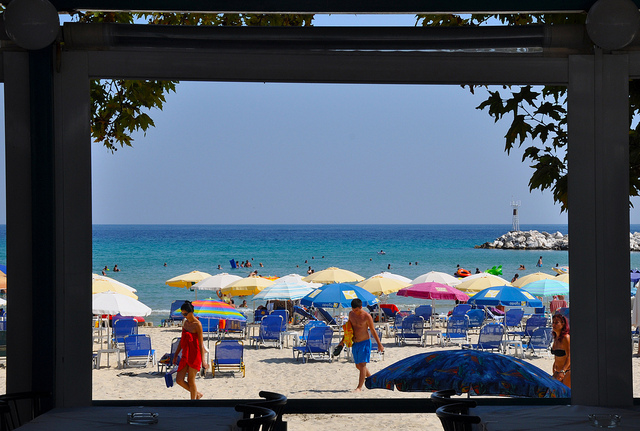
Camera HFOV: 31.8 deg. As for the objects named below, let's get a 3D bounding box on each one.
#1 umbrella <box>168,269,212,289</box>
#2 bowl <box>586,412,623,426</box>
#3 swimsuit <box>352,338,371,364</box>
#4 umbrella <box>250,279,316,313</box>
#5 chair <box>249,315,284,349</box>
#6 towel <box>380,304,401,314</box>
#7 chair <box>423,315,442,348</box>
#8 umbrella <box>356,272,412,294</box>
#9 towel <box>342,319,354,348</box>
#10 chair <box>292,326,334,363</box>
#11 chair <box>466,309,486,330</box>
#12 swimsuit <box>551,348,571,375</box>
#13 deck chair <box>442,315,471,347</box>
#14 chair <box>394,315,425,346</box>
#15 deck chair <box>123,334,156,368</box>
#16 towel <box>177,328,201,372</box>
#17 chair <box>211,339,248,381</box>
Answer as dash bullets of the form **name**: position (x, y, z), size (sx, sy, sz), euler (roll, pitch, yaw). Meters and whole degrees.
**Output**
- **umbrella**: position (-3.059, 1.538, 26.794), size (1.108, 0.438, 1.135), euler (-2, -3, 4)
- **bowl**: position (2.743, 1.948, 10.722), size (0.335, 0.112, 0.292), euler (1, -5, 0)
- **swimsuit**: position (0.596, 1.916, 15.812), size (0.247, 0.345, 0.224), euler (1, -5, -2)
- **umbrella**: position (-0.752, 1.709, 22.599), size (1.024, 0.769, 1.110), euler (1, 3, 1)
- **chair**: position (-0.865, 2.086, 20.431), size (0.462, 0.586, 0.876), euler (-2, -11, 1)
- **towel**: position (1.626, 2.178, 25.998), size (0.509, 0.255, 0.534), euler (1, -6, 3)
- **chair**: position (2.148, 2.238, 21.335), size (0.307, 0.324, 0.331), euler (-12, 20, 11)
- **umbrella**: position (1.541, 1.587, 26.228), size (1.631, 0.583, 1.712), euler (-4, -3, 6)
- **towel**: position (0.426, 1.685, 15.981), size (0.133, 0.377, 0.394), euler (1, -5, 1)
- **chair**: position (-0.052, 2.090, 18.778), size (0.489, 0.587, 0.892), euler (-1, -13, 16)
- **chair**: position (3.039, 2.020, 21.677), size (0.357, 0.525, 0.367), euler (0, -6, 8)
- **swimsuit**: position (2.859, 1.697, 13.388), size (0.135, 0.231, 0.189), euler (-5, -11, 21)
- **deck chair**: position (2.467, 2.133, 20.576), size (0.512, 0.607, 0.873), euler (-4, -5, 20)
- **chair**: position (1.725, 2.124, 21.175), size (0.361, 0.497, 0.689), euler (1, 0, -1)
- **deck chair**: position (-2.959, 2.127, 18.145), size (0.516, 0.598, 0.893), euler (-1, -21, -11)
- **towel**: position (-1.684, 1.762, 14.558), size (0.292, 0.557, 0.211), euler (2, -1, 6)
- **chair**: position (-1.450, 2.277, 17.918), size (0.434, 0.486, 0.793), euler (1, 0, -5)
